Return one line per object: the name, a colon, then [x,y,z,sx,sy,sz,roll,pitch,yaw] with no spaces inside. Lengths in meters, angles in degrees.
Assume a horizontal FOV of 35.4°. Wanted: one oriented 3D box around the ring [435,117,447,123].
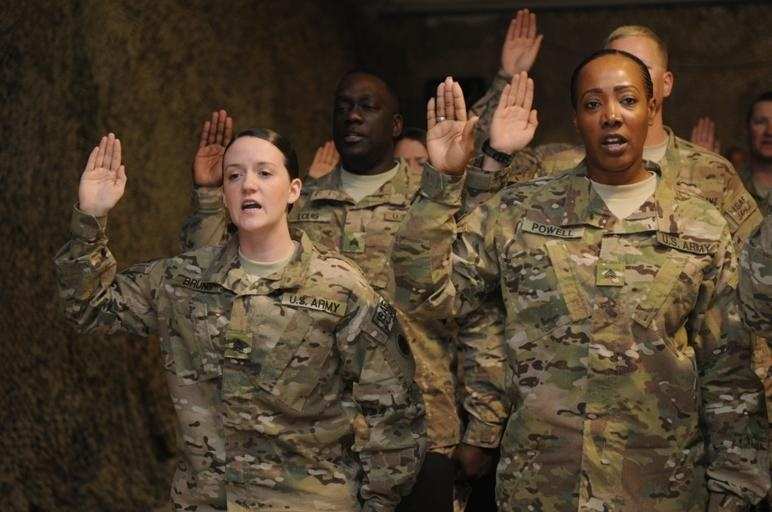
ring: [0.341,-0.811,7.219,0.047,0.015,0.044,1,-17,0]
